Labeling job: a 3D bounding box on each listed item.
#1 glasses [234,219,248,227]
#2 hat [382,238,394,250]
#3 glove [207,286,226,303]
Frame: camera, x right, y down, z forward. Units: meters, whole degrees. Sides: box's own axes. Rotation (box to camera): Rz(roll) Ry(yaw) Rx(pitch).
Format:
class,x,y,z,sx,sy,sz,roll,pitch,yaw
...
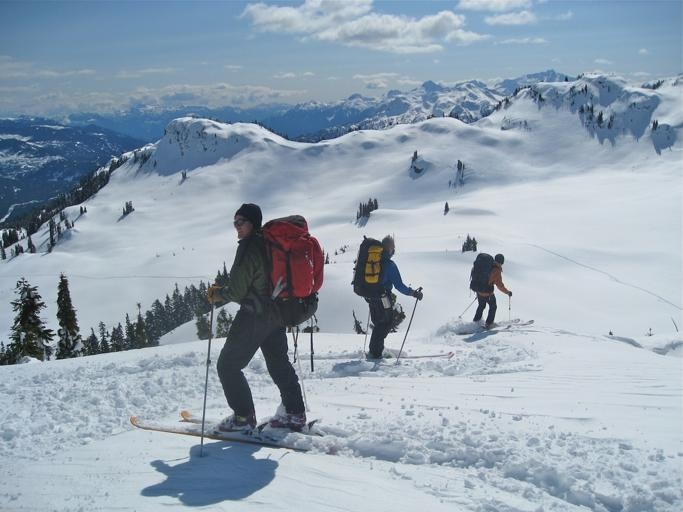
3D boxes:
class,x,y,z,sx,sy,sz,roll,pitch,yaw
glasses,-2.469,-0.793,16.802,0.269,0.191,0.185,-2,2,-10
hat,1.422,-0.415,21.440,0.359,0.411,0.506,-1,2,-3
glove,-3.016,0.943,16.796,0.467,0.429,0.384,-1,2,12
